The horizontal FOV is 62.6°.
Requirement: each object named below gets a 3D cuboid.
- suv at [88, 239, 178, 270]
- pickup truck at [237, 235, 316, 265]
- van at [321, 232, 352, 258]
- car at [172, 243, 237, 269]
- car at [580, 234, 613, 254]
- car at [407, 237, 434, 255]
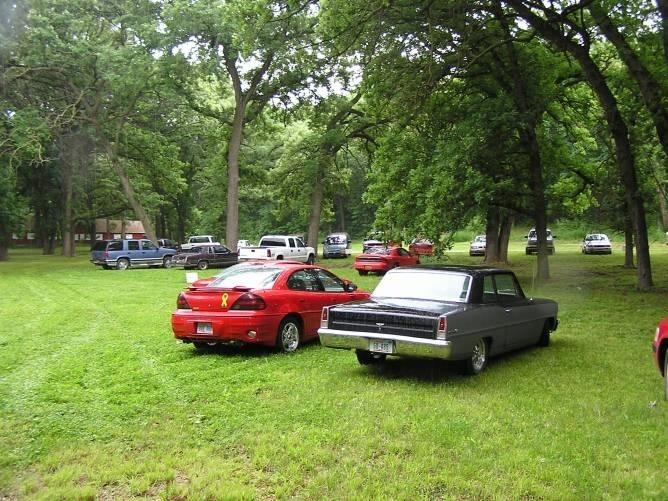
[{"bbox_3d":[-13.464,0.240,37.344,2.341,1.577,5.005,0,1,44],"label":"suv"},{"bbox_3d":[-3.740,0.086,36.119,4.620,1.983,4.196,0,2,4],"label":"pickup truck"},{"bbox_3d":[0.192,-0.369,47.737,2.253,2.190,2.825,0,0,-1],"label":"van"},{"bbox_3d":[-8.215,0.375,36.167,4.340,1.384,1.915,-7,9,-35],"label":"car"},{"bbox_3d":[22.785,-0.560,47.828,2.087,1.802,2.719,0,0,12],"label":"car"},{"bbox_3d":[7.781,-0.469,49.023,1.839,1.208,3.020,0,-1,16],"label":"car"}]
